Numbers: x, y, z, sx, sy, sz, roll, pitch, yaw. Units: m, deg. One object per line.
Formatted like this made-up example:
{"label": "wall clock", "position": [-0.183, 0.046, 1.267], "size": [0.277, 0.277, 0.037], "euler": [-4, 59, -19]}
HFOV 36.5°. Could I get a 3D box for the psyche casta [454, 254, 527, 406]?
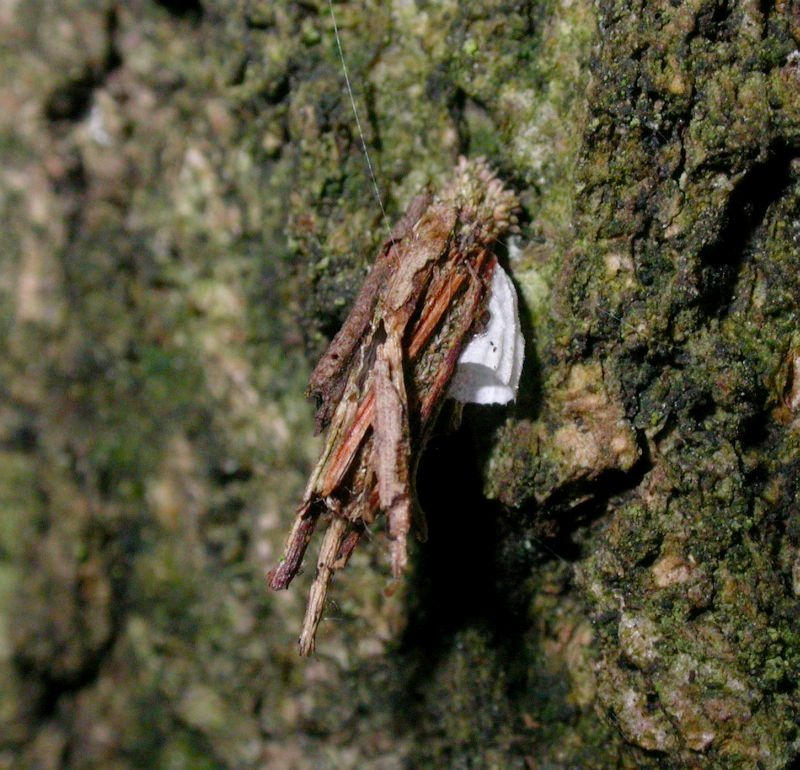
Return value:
{"label": "psyche casta", "position": [0.423, -0.195, 5.426], "size": [0.281, 0.474, 0.456], "euler": [16, 40, 6]}
